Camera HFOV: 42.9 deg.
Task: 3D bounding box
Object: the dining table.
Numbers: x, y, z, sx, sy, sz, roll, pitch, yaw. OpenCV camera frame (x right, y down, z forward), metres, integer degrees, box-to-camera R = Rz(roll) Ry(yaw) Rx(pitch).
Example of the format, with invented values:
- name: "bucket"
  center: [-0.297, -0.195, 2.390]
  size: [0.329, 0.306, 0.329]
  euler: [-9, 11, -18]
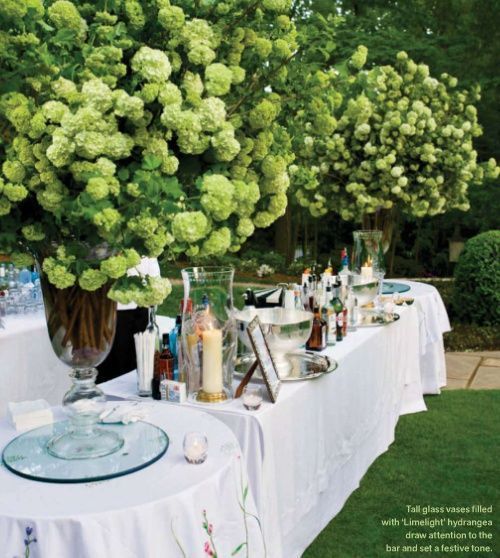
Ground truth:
- name: "dining table"
  center: [-0.110, 1.120, 2.854]
  size: [1.161, 0.542, 2.354]
  euler: [4, 10, 22]
